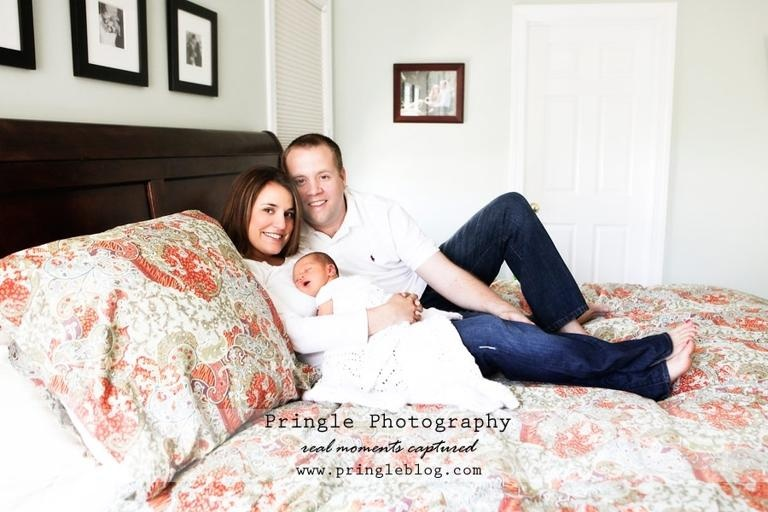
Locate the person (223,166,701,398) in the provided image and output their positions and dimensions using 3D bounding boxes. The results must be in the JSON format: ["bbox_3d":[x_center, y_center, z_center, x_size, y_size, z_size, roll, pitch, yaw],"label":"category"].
[{"bbox_3d":[0.302,0.057,1.903,1.612,0.739,0.695,3,32,17],"label":"person"}]

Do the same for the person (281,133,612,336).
[{"bbox_3d":[0.219,-0.233,2.522,1.564,1.031,0.724,-6,29,23],"label":"person"}]
